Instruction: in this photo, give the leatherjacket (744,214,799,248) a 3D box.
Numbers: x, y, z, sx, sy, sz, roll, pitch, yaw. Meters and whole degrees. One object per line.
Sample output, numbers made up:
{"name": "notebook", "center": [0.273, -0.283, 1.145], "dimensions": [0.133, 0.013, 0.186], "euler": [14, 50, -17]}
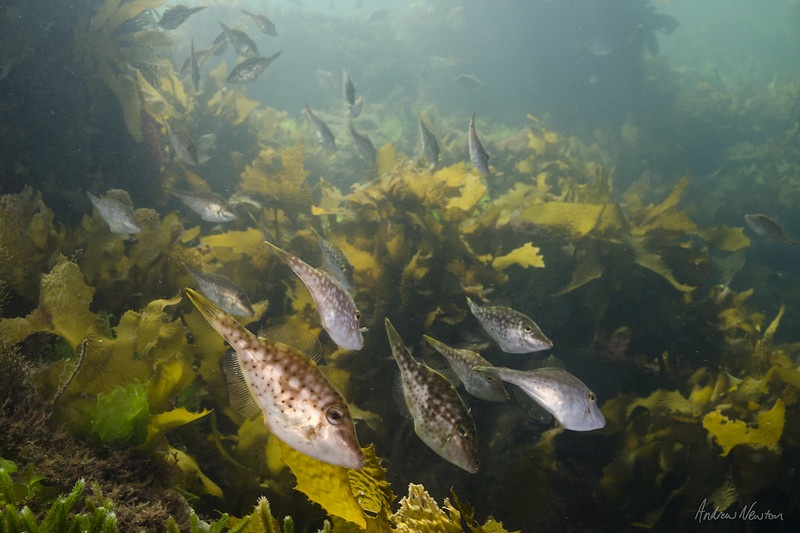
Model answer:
{"name": "leatherjacket", "center": [7.449, -0.678, 15.468], "dimensions": [0.831, 0.390, 0.249], "euler": [35, 39, 18]}
